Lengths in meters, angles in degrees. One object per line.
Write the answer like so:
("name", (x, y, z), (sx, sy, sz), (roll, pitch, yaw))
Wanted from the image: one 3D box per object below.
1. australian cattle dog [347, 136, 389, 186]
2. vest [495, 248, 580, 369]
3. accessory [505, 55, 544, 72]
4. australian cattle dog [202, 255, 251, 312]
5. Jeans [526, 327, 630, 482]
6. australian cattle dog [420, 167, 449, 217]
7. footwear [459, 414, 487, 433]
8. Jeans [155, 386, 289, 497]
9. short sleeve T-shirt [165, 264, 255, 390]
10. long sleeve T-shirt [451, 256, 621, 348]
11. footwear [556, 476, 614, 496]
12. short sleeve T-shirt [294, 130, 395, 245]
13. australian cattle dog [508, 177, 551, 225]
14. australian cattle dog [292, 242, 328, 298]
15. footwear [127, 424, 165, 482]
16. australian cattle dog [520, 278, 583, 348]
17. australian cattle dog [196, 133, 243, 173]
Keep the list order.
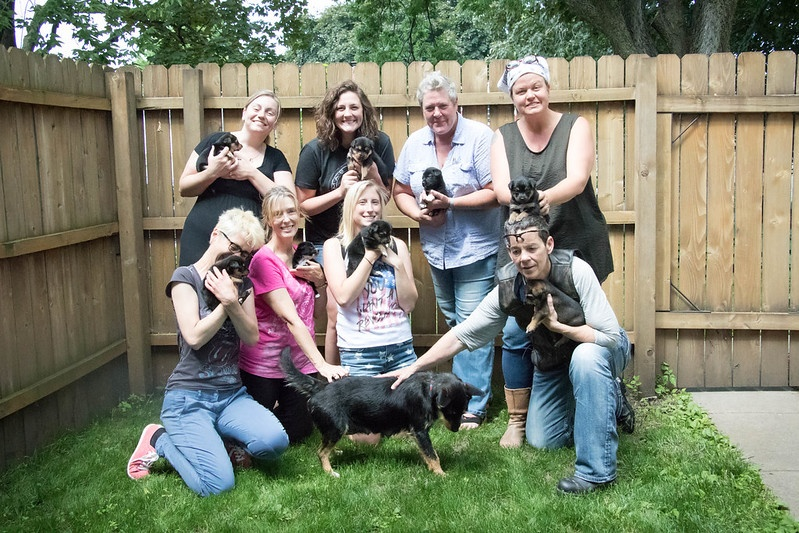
("australian cattle dog", (-0.390, -1.149, 7.100), (0.278, 0.438, 0.531), (15, 14, 7))
("vest", (1.281, 0.353, 6.092), (0.704, 0.983, 0.609), (-35, -15, 35))
("accessory", (1.252, -1.959, 6.548), (0.361, 0.183, 0.556), (3, 13, 18))
("australian cattle dog", (-1.619, 0.151, 6.061), (0.450, 0.499, 0.252), (-5, 1, -16))
("Jeans", (1.628, 1.278, 6.164), (0.643, 1.160, 1.130), (7, -9, -24))
("australian cattle dog", (0.344, -0.805, 7.017), (0.276, 0.453, 0.270), (9, 21, 38))
("footwear", (0.780, 1.670, 7.200), (0.111, 0.150, 0.345), (-8, -21, 31))
("Jeans", (-1.627, 1.522, 6.093), (1.088, 0.786, 0.709), (-6, 13, -22))
("short sleeve T-shirt", (-1.700, 0.572, 6.207), (0.860, 1.172, 0.663), (-9, 30, -34))
("long sleeve T-shirt", (1.360, 0.402, 6.006), (1.237, 0.504, 0.836), (26, -44, -33))
("footwear", (1.613, 1.865, 5.827), (0.439, 0.205, 0.170), (5, -8, -5))
("short sleeve T-shirt", (-0.677, -0.681, 7.381), (0.985, 1.530, 0.848), (7, 12, 0))
("australian cattle dog", (1.185, -0.618, 6.246), (0.326, 0.434, 0.562), (4, 12, 29))
("australian cattle dog", (-0.948, -0.005, 7.027), (0.256, 0.532, 0.247), (-5, 19, 5))
("footwear", (-2.301, 1.725, 6.289), (0.225, 0.611, 0.203), (-4, -30, 23))
("australian cattle dog", (1.403, 0.382, 6.007), (0.476, 0.532, 0.262), (6, 17, 14))
("australian cattle dog", (-1.829, -1.153, 6.832), (0.411, 0.171, 0.337), (-34, -9, 1))
